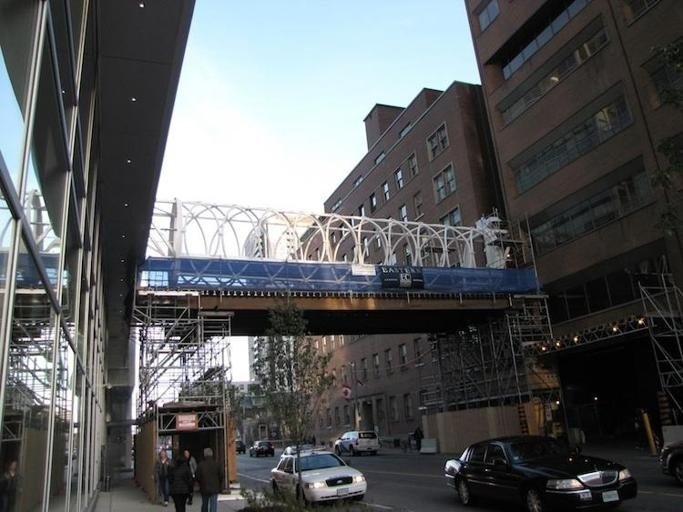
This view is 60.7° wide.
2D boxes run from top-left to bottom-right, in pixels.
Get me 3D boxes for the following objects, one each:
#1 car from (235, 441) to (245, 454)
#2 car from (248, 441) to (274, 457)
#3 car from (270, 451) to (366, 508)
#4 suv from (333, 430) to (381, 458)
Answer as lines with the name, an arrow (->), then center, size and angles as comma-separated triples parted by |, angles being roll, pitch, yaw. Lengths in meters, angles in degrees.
car -> -10.479, 19.643, 59.921 | 0.996, 0.904, 2.312 | 1, -6, -1
car -> -7.279, 17.193, 52.098 | 1.131, 1.027, 2.401 | 3, -11, -16
car -> -0.851, 6.438, 17.100 | 1.396, 1.089, 3.168 | 6, -24, -18
suv -> 0.985, 13.032, 40.797 | 1.578, 1.369, 3.319 | 8, -16, -24
